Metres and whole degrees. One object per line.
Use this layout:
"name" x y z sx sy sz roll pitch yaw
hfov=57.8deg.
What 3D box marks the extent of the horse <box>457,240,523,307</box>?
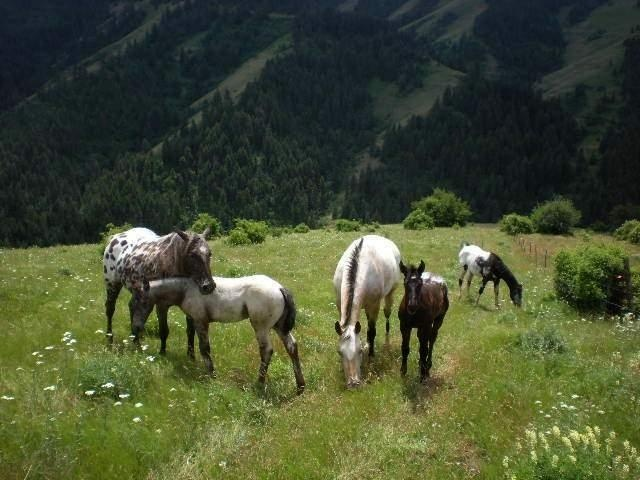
"horse" 20.592 4.432 70.464 7.322 6.409 2.994 8 9 17
